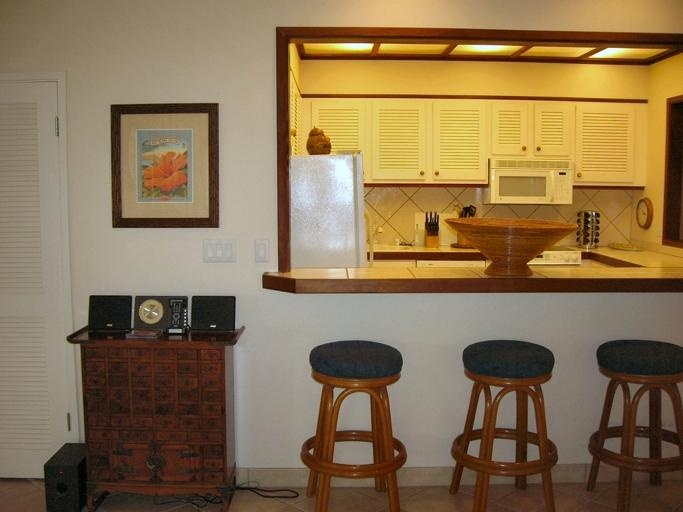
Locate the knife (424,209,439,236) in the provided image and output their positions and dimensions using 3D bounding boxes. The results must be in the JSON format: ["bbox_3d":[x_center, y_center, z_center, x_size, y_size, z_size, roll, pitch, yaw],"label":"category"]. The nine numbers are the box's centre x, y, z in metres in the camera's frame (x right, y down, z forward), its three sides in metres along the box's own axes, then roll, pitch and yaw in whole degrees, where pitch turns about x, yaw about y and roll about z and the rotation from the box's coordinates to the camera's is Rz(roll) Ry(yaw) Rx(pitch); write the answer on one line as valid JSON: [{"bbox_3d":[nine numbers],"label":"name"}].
[{"bbox_3d":[0.841,-0.301,5.650,0.125,0.232,0.146,-1,5,7],"label":"knife"}]

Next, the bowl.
[{"bbox_3d":[0.995,-0.078,3.627,0.493,0.209,0.490,1,-3,0],"label":"bowl"}]

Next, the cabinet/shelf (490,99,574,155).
[{"bbox_3d":[1.811,-1.187,5.565,0.795,0.515,0.437,10,25,40],"label":"cabinet/shelf"}]

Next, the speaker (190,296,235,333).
[{"bbox_3d":[-0.789,0.343,3.788,0.267,0.218,0.136,2,3,-5],"label":"speaker"}]

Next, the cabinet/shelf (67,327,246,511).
[{"bbox_3d":[-1.099,0.973,3.610,1.086,1.204,0.507,0,3,-1],"label":"cabinet/shelf"}]

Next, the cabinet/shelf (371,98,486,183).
[{"bbox_3d":[0.758,-1.034,5.678,1.125,0.740,0.564,-1,6,-7],"label":"cabinet/shelf"}]

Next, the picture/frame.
[{"bbox_3d":[-1.081,-0.596,3.752,0.770,0.843,0.040,0,5,2],"label":"picture/frame"}]

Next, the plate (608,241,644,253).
[{"bbox_3d":[2.573,-0.089,5.518,0.257,0.058,0.447,0,5,13],"label":"plate"}]

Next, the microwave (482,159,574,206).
[{"bbox_3d":[1.689,-0.616,5.609,0.771,0.443,0.473,0,-9,3],"label":"microwave"}]

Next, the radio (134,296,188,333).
[{"bbox_3d":[-1.120,0.349,3.641,0.318,0.210,0.073,1,-6,7],"label":"radio"}]
